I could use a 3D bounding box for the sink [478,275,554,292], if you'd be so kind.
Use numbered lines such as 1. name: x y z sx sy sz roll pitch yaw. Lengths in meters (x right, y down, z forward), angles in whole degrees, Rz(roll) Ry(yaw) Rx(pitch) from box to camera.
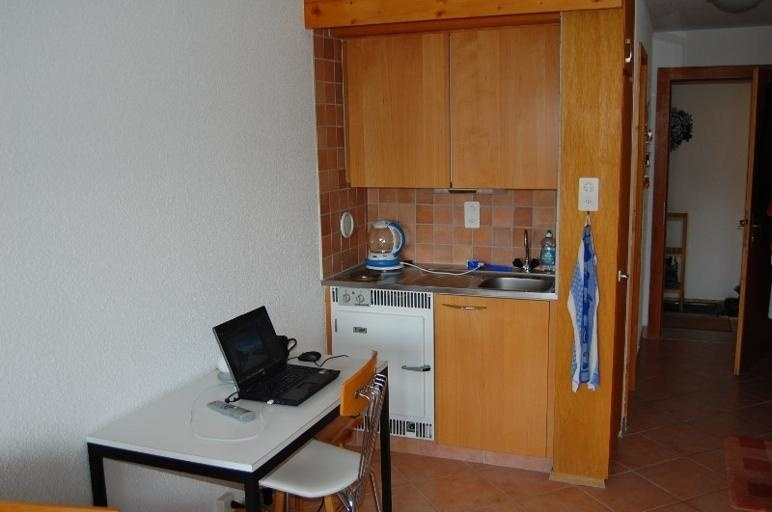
1. sink: 0.894 0.208 4.106 0.476 0.086 0.221 2 14 13

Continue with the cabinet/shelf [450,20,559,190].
1. cabinet/shelf: 0.762 -0.954 3.913 0.670 0.999 0.230 0 14 6

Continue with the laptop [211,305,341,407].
1. laptop: -0.527 0.486 2.967 0.452 0.324 0.465 5 10 20

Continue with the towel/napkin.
1. towel/napkin: 1.178 0.309 3.572 0.187 0.994 0.170 2 15 12

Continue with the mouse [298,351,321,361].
1. mouse: -0.419 0.548 3.302 0.085 0.027 0.061 1 4 7

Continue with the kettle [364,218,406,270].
1. kettle: -0.032 -0.092 4.433 0.339 0.339 0.307 6 16 25

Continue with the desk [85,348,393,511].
1. desk: -0.680 0.559 2.860 0.727 0.862 0.956 3 9 21

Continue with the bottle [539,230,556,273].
1. bottle: 1.136 -0.034 4.220 0.082 0.263 0.137 0 14 5

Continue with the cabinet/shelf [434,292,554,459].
1. cabinet/shelf: 0.742 0.731 4.279 1.025 1.386 0.936 0 1 19

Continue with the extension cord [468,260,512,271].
1. extension cord: 0.754 0.073 4.336 0.324 0.059 0.103 4 15 19

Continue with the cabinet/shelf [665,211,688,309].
1. cabinet/shelf: 3.287 0.046 6.833 0.259 1.069 0.332 6 16 26

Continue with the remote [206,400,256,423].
1. remote: -0.703 0.704 2.754 0.262 0.047 0.085 7 16 36

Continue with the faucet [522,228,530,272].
1. faucet: 0.997 -0.041 4.257 0.057 0.280 0.125 1 15 11

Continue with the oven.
1. oven: 0.113 0.714 4.490 0.972 1.321 0.936 0 2 12

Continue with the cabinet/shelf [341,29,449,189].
1. cabinet/shelf: 0.091 -1.023 4.088 0.904 1.235 0.644 2 12 12
